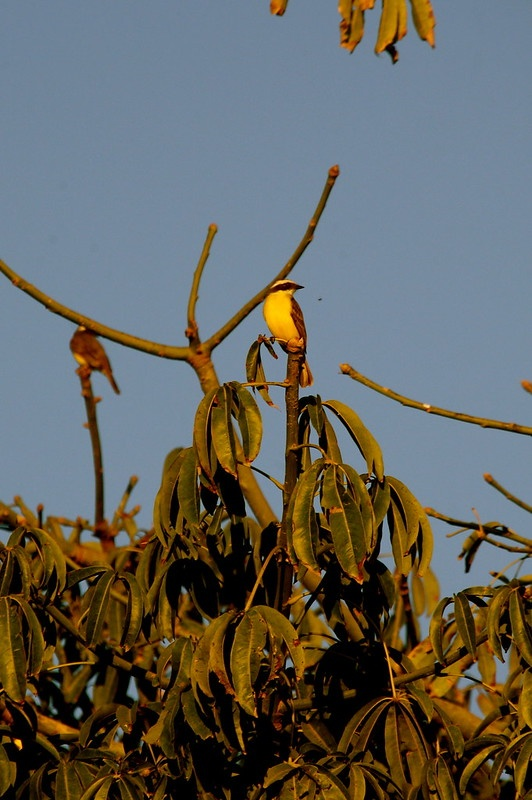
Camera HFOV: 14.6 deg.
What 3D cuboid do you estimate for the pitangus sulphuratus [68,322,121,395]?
[{"bbox_3d":[-0.790,-0.200,9.498,0.261,0.327,0.129,4,-30,7],"label":"pitangus sulphuratus"}]
